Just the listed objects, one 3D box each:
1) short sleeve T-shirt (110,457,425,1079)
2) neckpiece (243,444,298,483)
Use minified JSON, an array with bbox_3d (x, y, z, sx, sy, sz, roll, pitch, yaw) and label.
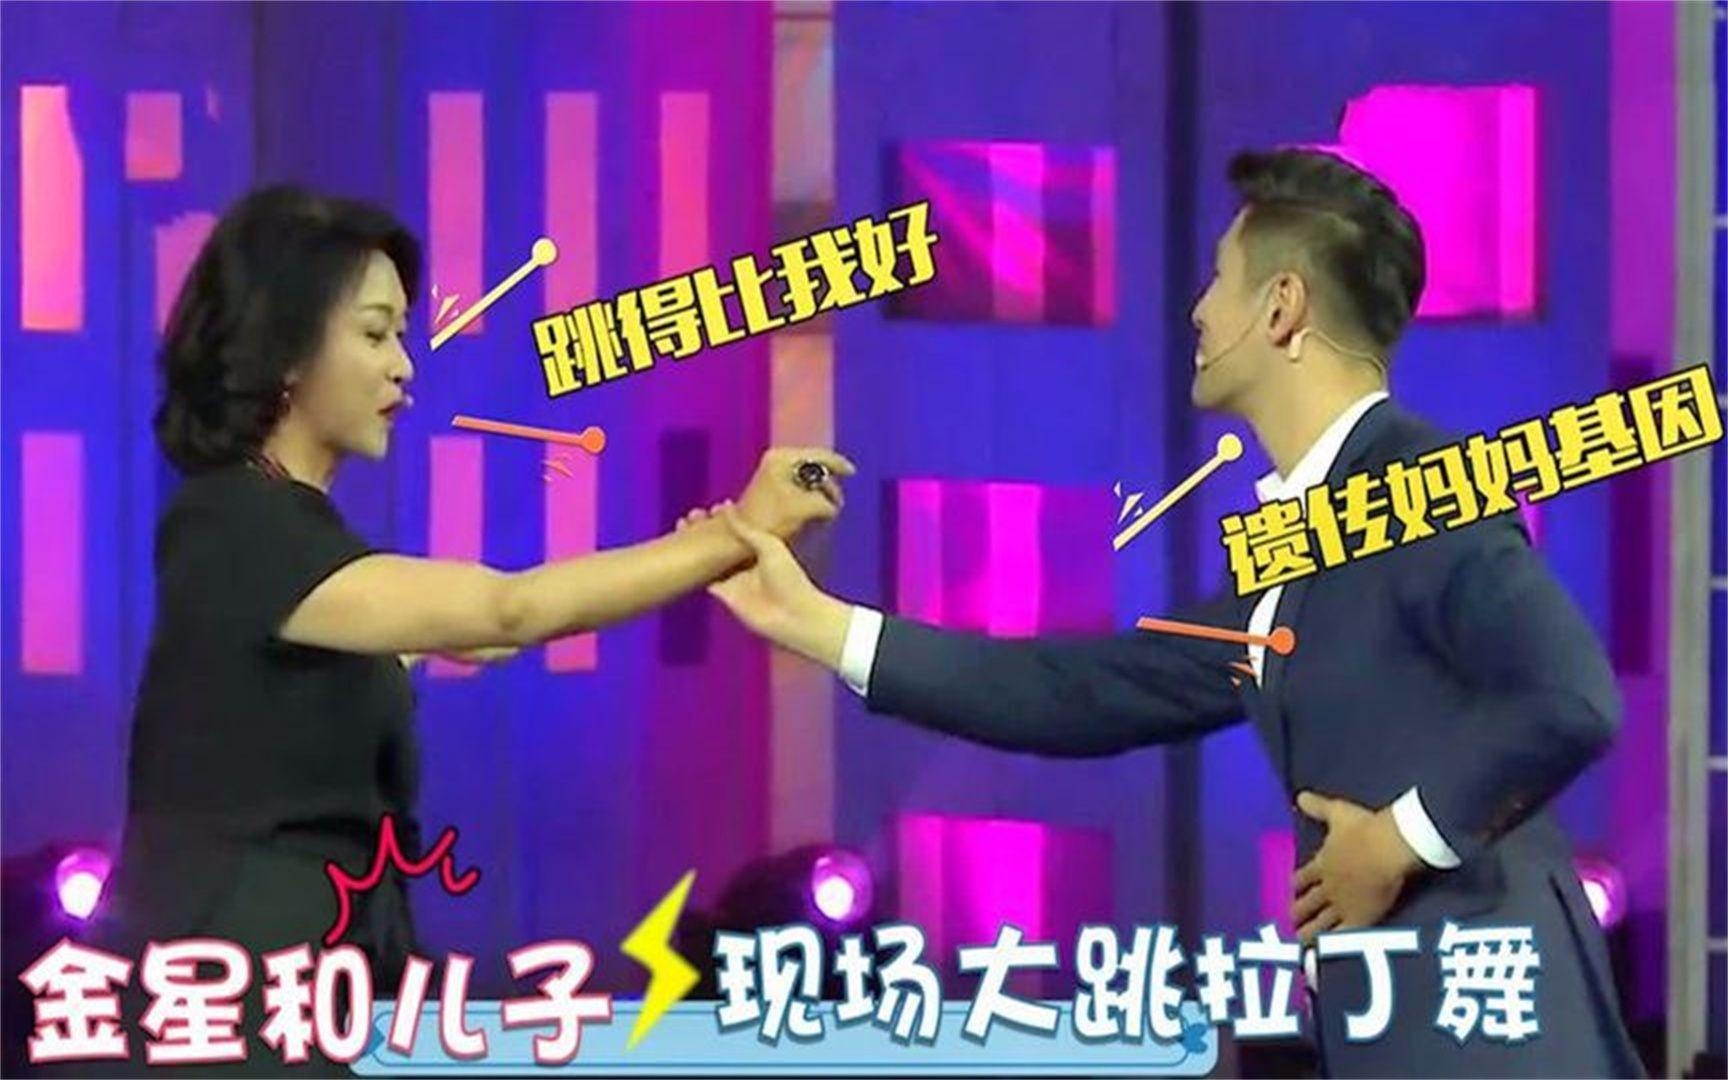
[{"bbox_3d":[-1.114,0.387,5.191,0.746,1.380,1.063,0,1,-13],"label":"short sleeve T-shirt"},{"bbox_3d":[-1.079,-0.136,4.580,0.083,0.055,0.008,0,-6,-3],"label":"neckpiece"}]
